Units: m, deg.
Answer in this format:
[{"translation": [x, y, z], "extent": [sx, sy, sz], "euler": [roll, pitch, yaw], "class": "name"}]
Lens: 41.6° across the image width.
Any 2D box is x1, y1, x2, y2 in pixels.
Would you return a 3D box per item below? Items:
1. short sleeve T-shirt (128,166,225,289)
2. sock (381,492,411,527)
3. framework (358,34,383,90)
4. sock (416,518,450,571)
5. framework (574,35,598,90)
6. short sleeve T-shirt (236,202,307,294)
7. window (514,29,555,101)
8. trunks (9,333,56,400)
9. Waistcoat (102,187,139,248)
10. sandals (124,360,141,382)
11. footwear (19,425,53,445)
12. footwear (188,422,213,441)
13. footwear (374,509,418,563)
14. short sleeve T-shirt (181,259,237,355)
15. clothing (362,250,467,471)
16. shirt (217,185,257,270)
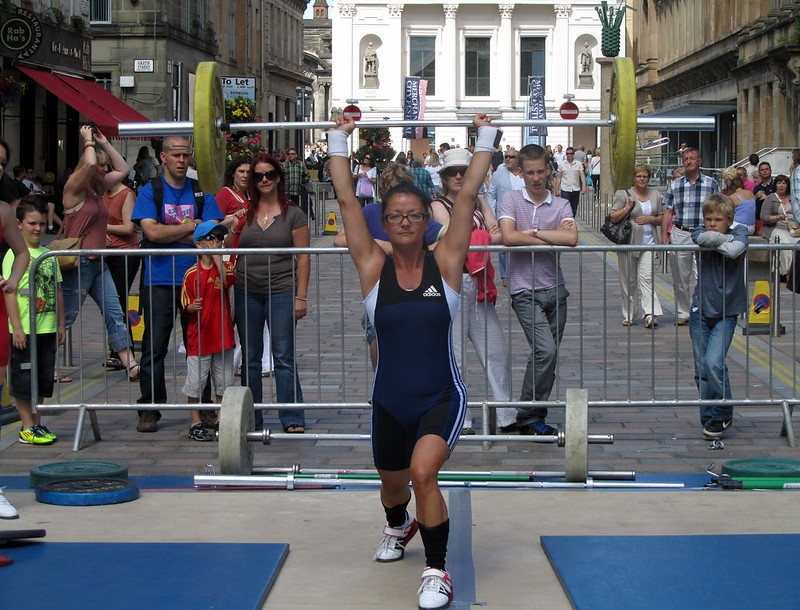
[{"translation": [-1.816, -0.601, 8.678], "extent": [0.717, 0.855, 0.311], "euler": [-4, 25, -24], "class": "short sleeve T-shirt"}, {"translation": [-0.007, 1.124, 5.702], "extent": [0.119, 0.204, 0.202], "euler": [-1, 11, 4], "class": "sock"}, {"translation": [-2.152, -17.932, 78.455], "extent": [1.269, 3.135, 1.124], "euler": [-3, 17, -10], "class": "framework"}, {"translation": [0.168, 1.193, 5.231], "extent": [0.136, 0.265, 0.154], "euler": [-1, 7, 1], "class": "sock"}, {"translation": [13.900, -18.053, 78.712], "extent": [1.186, 3.386, 1.131], "euler": [-1, 18, 7], "class": "framework"}, {"translation": [-0.995, -0.418, 8.201], "extent": [0.625, 0.670, 0.360], "euler": [-1, -13, 11], "class": "short sleeve T-shirt"}, {"translation": [10.214, -18.218, 80.750], "extent": [2.109, 5.099, 0.250], "euler": [0, -4, 4], "class": "window"}, {"translation": [-2.834, 0.483, 8.151], "extent": [0.347, 0.497, 0.475], "euler": [-3, 7, -21], "class": "trunks"}, {"translation": [-2.816, -0.850, 10.503], "extent": [0.354, 0.620, 0.467], "euler": [-11, 14, -41], "class": "Waistcoat"}, {"translation": [-2.357, 0.602, 9.316], "extent": [0.205, 0.217, 0.580], "euler": [0, -1, -15], "class": "sandals"}, {"translation": [-2.772, 1.017, 8.103], "extent": [0.295, 0.134, 0.113], "euler": [1, -1, 9], "class": "footwear"}, {"translation": [-1.552, 0.992, 8.210], "extent": [0.191, 0.135, 0.216], "euler": [-2, 7, -12], "class": "footwear"}, {"translation": [-0.017, 1.315, 5.789], "extent": [0.148, 0.352, 0.156], "euler": [18, -12, 32], "class": "footwear"}, {"translation": [-1.491, -0.019, 8.238], "extent": [0.435, 0.799, 0.364], "euler": [-3, 4, 13], "class": "short sleeve T-shirt"}, {"translation": [0.092, 0.311, 5.395], "extent": [0.464, 1.104, 0.297], "euler": [4, 8, 33], "class": "clothing"}, {"translation": [-1.326, -0.665, 8.579], "extent": [0.266, 0.505, 0.227], "euler": [8, 10, 19], "class": "shirt"}]
